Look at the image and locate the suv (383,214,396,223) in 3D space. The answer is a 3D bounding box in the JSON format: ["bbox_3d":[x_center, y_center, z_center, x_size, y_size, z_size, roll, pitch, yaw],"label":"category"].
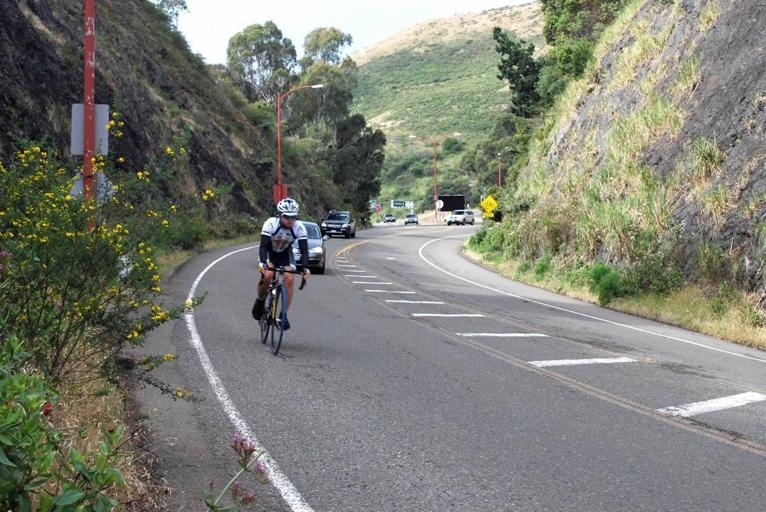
[{"bbox_3d":[0.875,-5.082,103.631,1.623,1.702,3.316,-1,-2,-6],"label":"suv"}]

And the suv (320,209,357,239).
[{"bbox_3d":[-2.682,-2.116,49.237,1.317,1.500,3.011,0,1,5],"label":"suv"}]

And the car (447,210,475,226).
[{"bbox_3d":[8.201,-4.079,80.354,1.300,1.255,2.904,-1,-2,21],"label":"car"}]

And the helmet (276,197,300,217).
[{"bbox_3d":[-1.765,-0.914,14.149,0.259,0.177,0.430,3,25,-20],"label":"helmet"}]

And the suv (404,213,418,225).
[{"bbox_3d":[3.185,-4.154,86.718,1.657,1.715,3.208,-1,0,1],"label":"suv"}]

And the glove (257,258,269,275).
[{"bbox_3d":[-2.228,0.172,14.317,0.163,0.117,0.265,9,46,-26],"label":"glove"}]
